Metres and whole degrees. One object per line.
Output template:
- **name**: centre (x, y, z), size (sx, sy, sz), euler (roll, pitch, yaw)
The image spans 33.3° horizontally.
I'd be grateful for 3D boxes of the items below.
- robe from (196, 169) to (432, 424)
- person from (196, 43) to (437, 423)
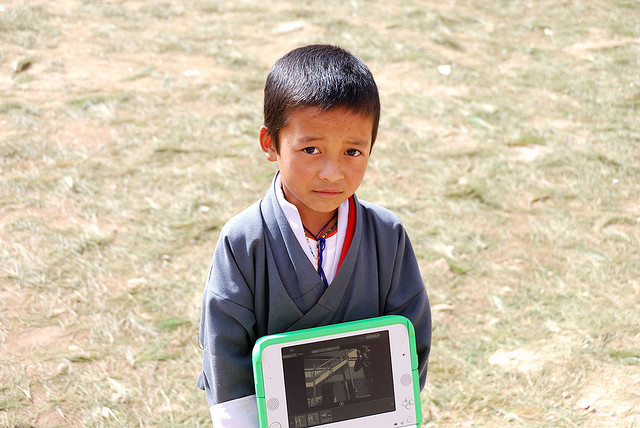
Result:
- **robe**: centre (-0.053, 0.631, 7.209), size (2.079, 1.564, 0.776), euler (-4, 12, -12)
- **person**: centre (-0.135, 0.081, 7.374), size (1.178, 2.534, 1.418), euler (-3, 17, -11)
